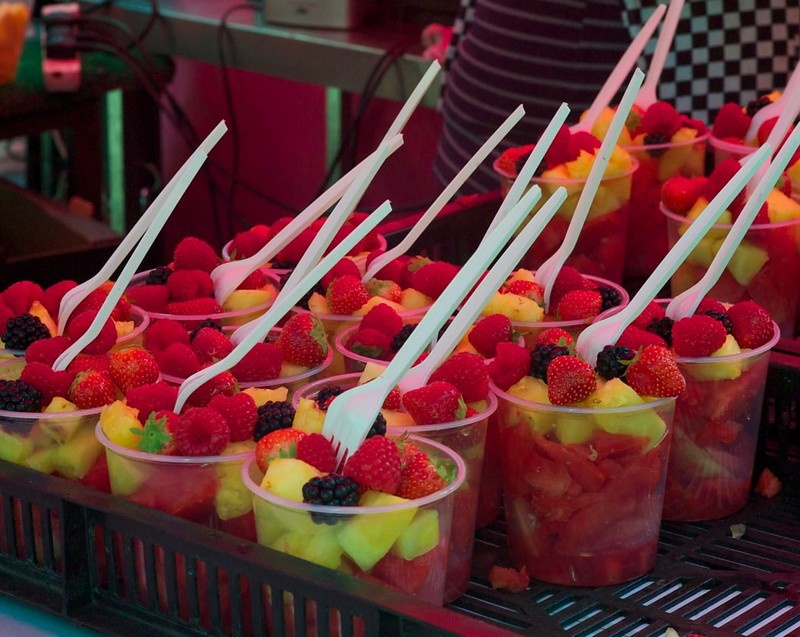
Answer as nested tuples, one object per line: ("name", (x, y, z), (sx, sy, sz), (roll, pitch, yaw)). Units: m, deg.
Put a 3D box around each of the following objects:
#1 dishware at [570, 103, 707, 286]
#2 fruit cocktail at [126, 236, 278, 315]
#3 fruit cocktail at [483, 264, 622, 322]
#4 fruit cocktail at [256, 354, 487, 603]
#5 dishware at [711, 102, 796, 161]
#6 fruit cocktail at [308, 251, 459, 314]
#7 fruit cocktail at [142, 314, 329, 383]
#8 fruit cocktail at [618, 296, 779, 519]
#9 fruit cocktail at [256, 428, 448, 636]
("dishware", (0.324, -0.214, 1.356), (0.209, 0.262, 0.247), (-2, 10, -6))
("fruit cocktail", (-0.246, -0.073, 0.996), (0.117, 0.059, 0.117), (-7, 10, -32))
("fruit cocktail", (0.181, -0.024, 0.955), (0.095, 0.035, 0.096), (-3, 10, -2))
("fruit cocktail", (0.002, 0.119, 0.762), (0.203, 0.159, 0.188), (-24, 34, -38))
("dishware", (0.536, -0.273, 1.270), (0.097, 0.090, 0.092), (-8, 31, -23))
("fruit cocktail", (-0.023, -0.030, 0.979), (0.112, 0.046, 0.099), (-2, 23, 35))
("fruit cocktail", (-0.172, 0.033, 0.847), (0.114, 0.042, 0.099), (1, 7, 18))
("fruit cocktail", (0.312, 0.105, 0.945), (0.189, 0.205, 0.200), (-9, 18, -10))
("fruit cocktail", (-0.051, 0.150, 0.673), (0.152, 0.103, 0.142), (10, 17, 40))
